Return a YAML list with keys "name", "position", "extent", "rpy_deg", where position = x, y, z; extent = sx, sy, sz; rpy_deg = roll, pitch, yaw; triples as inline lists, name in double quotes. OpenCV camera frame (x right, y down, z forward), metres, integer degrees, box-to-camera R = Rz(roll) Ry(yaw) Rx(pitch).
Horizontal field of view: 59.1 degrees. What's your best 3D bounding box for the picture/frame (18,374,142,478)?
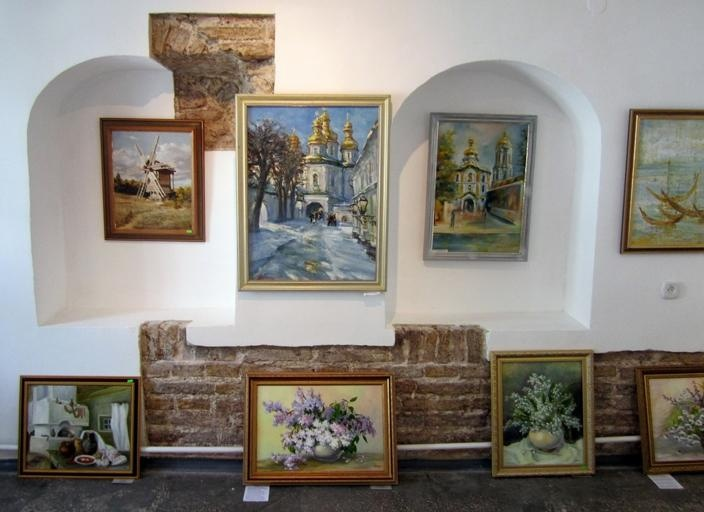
- name: "picture/frame"
  position: [-2.265, 1.421, 5.110]
  extent: [0.795, 0.691, 0.067]
  rpy_deg: [-1, -3, 3]
